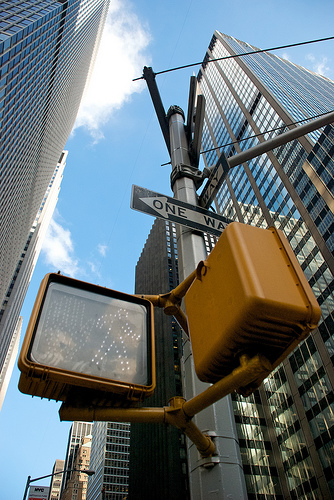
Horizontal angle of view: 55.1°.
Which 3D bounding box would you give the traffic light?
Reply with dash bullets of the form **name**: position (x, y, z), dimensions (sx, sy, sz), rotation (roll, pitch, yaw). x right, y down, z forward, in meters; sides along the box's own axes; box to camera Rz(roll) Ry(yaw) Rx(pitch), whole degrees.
- **traffic light**: position (-0.319, 0.391, 1.320), dimensions (0.538, 0.602, 0.228), rotation (25, -53, -27)
